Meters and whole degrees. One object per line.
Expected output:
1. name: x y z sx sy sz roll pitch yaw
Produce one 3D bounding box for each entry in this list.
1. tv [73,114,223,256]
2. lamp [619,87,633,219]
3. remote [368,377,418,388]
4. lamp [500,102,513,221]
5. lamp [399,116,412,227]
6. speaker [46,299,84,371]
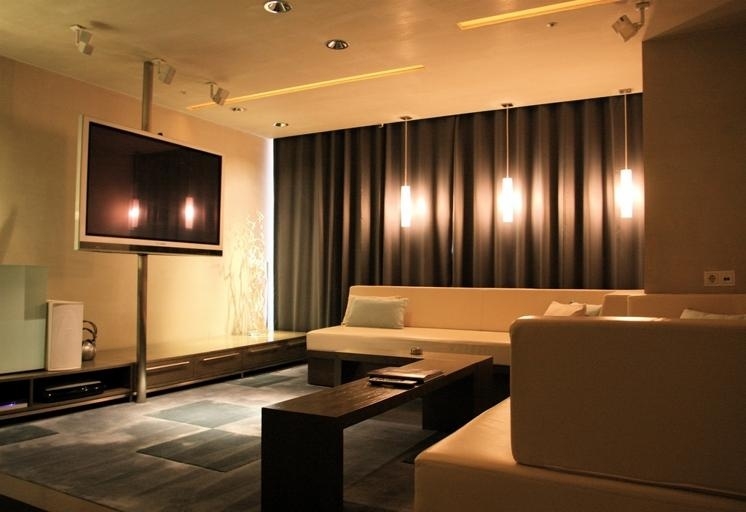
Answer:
1. tv: -1.962 -0.576 4.829 0.090 1.047 1.549 4 1 29
2. lamp: 2.543 -1.018 5.218 0.147 1.278 0.284 1 3 25
3. remote: 0.126 0.743 3.050 0.140 0.030 0.096 2 0 20
4. lamp: 1.456 -1.003 5.640 0.142 1.266 0.273 1 3 14
5. lamp: 0.391 -0.977 6.078 0.130 1.278 0.321 0 3 2
6. speaker: -2.493 0.642 4.238 0.280 0.554 0.184 -3 4 -45
